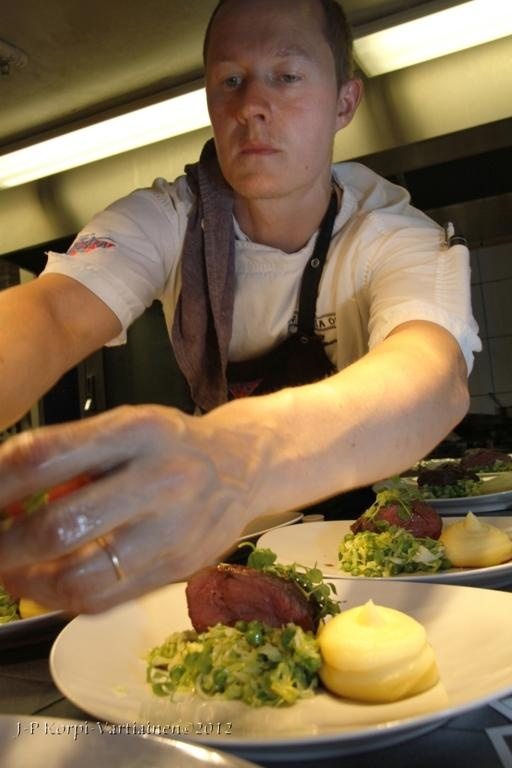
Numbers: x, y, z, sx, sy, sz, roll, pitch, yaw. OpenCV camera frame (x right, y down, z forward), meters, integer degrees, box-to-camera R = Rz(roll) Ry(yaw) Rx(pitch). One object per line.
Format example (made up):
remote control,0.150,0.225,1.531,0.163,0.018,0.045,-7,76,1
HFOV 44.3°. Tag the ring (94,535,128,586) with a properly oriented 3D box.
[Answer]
ring,-0.067,0.082,0.291,0.008,0.023,0.004,-13,12,-7
